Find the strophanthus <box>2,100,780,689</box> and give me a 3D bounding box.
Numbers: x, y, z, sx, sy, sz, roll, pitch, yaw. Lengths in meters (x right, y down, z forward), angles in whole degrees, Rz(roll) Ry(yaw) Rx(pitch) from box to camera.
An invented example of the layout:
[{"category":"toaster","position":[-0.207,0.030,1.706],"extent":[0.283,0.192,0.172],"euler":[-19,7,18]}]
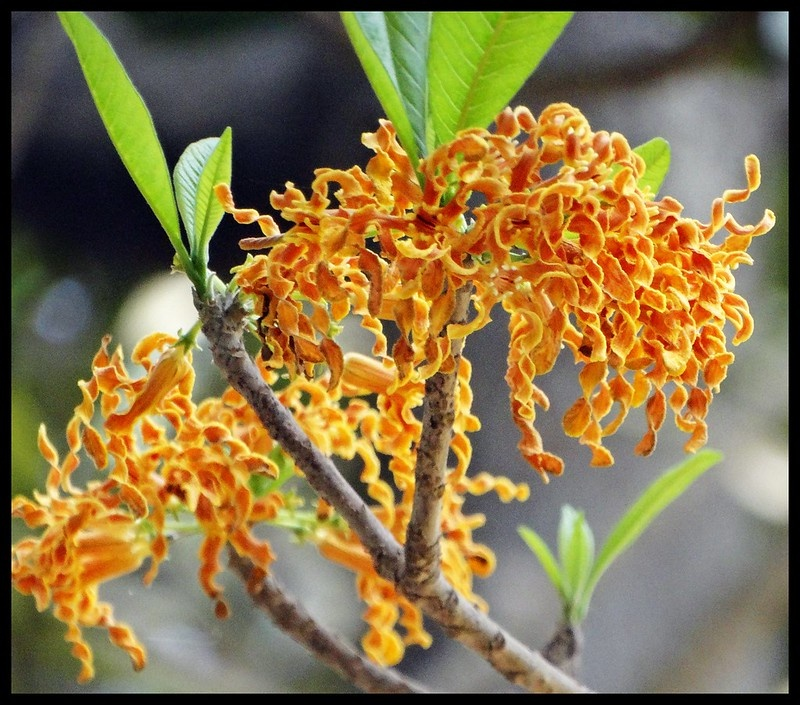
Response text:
[{"category":"strophanthus","position":[-0.073,-0.034,1.680],"extent":[0.883,0.662,0.457],"euler":[-32,35,16]}]
